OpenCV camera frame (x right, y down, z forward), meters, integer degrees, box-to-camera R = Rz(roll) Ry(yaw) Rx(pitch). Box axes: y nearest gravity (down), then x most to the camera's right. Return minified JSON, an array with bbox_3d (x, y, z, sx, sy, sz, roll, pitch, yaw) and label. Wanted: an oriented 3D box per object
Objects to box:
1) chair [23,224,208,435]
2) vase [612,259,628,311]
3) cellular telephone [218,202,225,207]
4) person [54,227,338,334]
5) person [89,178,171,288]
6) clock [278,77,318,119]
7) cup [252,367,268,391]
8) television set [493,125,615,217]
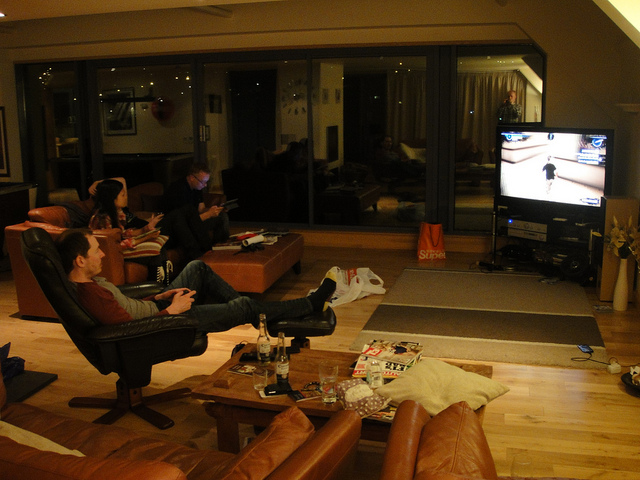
[{"bbox_3d":[-1.355,0.552,3.585,1.208,1.259,1.099,-2,12,-39],"label":"chair"},{"bbox_3d":[2.952,0.440,5.019,0.113,0.495,0.143,6,13,29],"label":"vase"},{"bbox_3d":[-1.173,-0.421,6.169,0.043,0.060,0.161,14,1,-14],"label":"cellular telephone"},{"bbox_3d":[-0.801,0.331,3.657,2.004,0.761,0.840,-4,22,-19],"label":"person"},{"bbox_3d":[-1.791,-0.001,5.013,0.660,1.135,0.487,-1,25,-8],"label":"person"},{"bbox_3d":[-0.305,-2.053,7.439,0.572,0.580,0.061,4,12,18],"label":"clock"},{"bbox_3d":[-0.316,0.783,2.889,0.093,0.097,0.094,-1,8,0],"label":"cup"},{"bbox_3d":[2.826,-0.767,6.068,0.386,1.024,1.618,-3,13,-33],"label":"television set"}]
